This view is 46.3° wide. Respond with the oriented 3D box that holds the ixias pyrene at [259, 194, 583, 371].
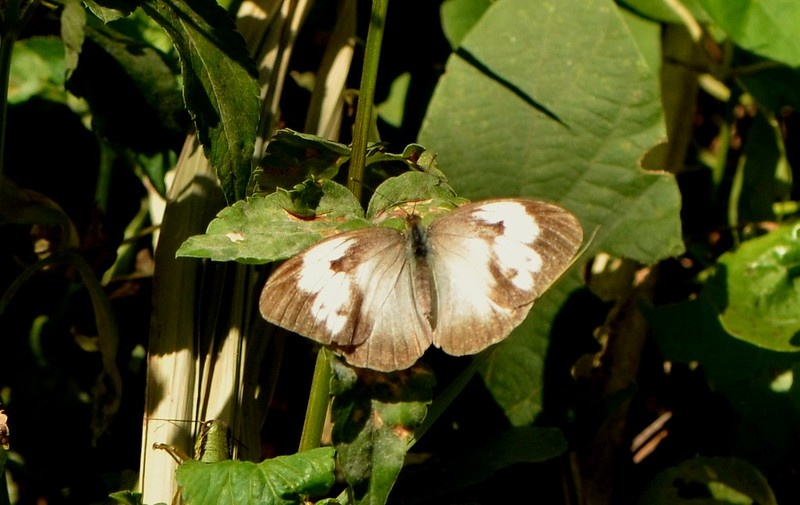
[{"bbox_3d":[0.044,0.053,1.814,0.617,0.327,0.073,-13,2,-15],"label":"ixias pyrene"}]
